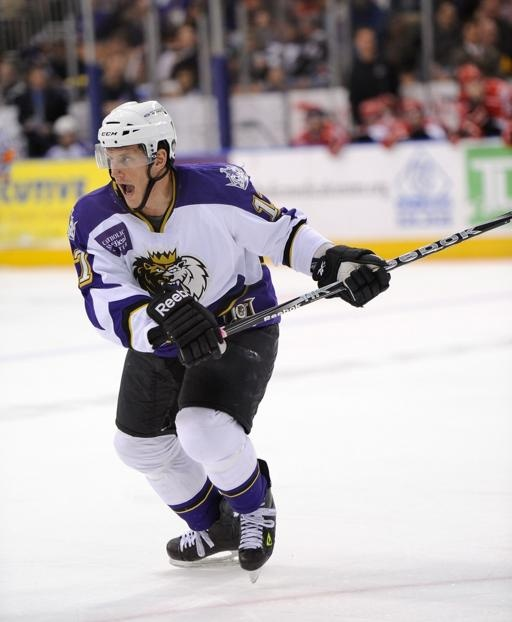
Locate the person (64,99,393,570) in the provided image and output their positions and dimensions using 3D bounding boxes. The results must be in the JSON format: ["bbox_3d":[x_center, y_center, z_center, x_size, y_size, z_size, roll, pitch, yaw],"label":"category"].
[{"bbox_3d":[-0.055,0.076,1.898,0.625,1.233,0.444,-11,8,-35],"label":"person"}]

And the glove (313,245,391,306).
[{"bbox_3d":[0.239,-0.096,1.946,0.151,0.086,0.187,-37,50,-12],"label":"glove"}]
